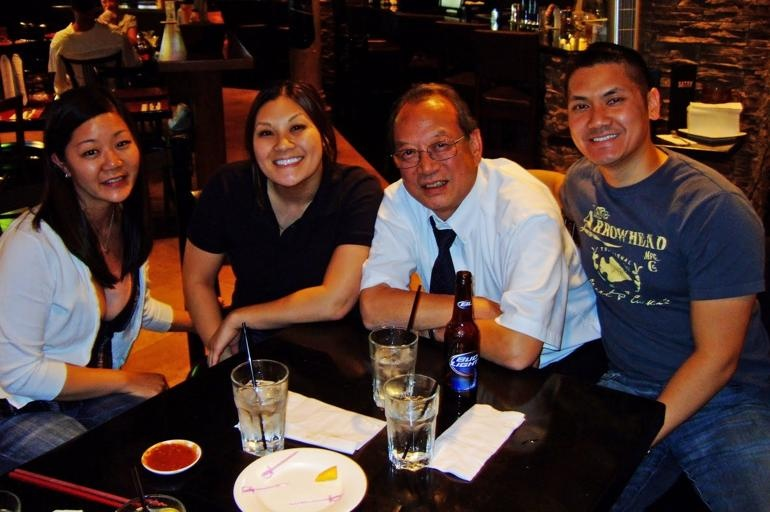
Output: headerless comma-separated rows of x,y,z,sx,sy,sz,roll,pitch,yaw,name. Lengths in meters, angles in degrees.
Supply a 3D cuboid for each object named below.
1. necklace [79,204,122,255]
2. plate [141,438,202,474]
-1.134,-0.103,2.316,0.148,0.176,0.061,-8,10,-23,necklace
-0.561,0.532,1.499,0.153,0.037,0.101,-1,19,-5,plate
